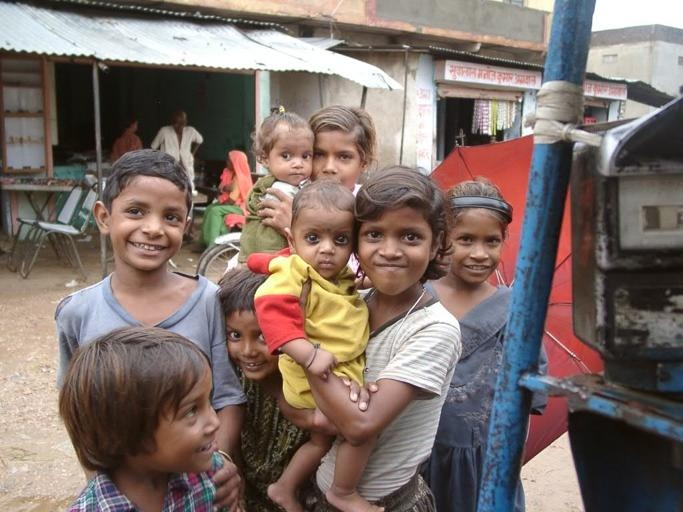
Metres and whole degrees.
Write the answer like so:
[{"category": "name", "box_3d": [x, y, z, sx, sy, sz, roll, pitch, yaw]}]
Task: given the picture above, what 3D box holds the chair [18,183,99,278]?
[{"category": "chair", "box_3d": [-3.846, -0.354, 8.425, 0.780, 1.140, 0.653, -3, 12, -39]}]
